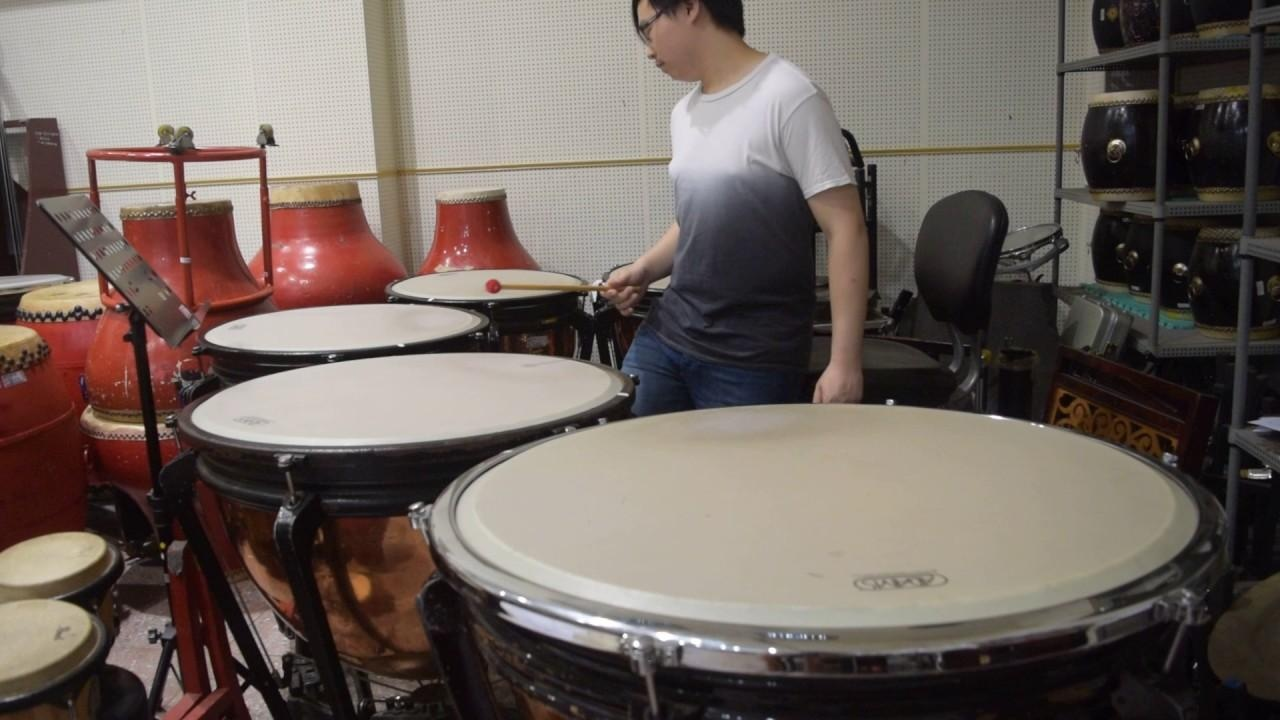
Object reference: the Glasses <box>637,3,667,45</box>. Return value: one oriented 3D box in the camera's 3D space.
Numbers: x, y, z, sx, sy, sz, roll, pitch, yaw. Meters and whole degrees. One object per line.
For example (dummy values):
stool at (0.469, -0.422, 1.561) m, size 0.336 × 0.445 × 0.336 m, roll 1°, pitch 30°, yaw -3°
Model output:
Glasses at (0.048, -1.216, 3.430) m, size 0.088 × 0.116 × 0.067 m, roll -4°, pitch 17°, yaw 17°

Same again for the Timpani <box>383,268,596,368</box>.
Timpani at (-0.592, -0.259, 4.228) m, size 0.543 × 0.508 × 0.542 m, roll -8°, pitch 17°, yaw -24°

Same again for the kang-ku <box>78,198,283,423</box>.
kang-ku at (-2.057, -0.243, 4.442) m, size 0.975 × 0.955 × 0.980 m, roll -5°, pitch 8°, yaw -26°

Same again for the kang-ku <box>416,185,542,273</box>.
kang-ku at (-0.900, -0.693, 5.195) m, size 0.731 × 0.425 × 0.711 m, roll -9°, pitch 11°, yaw -32°

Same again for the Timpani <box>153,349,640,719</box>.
Timpani at (-0.787, 0.350, 3.043) m, size 1.121 × 0.928 × 1.152 m, roll -4°, pitch 17°, yaw -16°

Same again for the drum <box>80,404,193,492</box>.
drum at (-2.025, 0.343, 3.827) m, size 0.375 × 0.364 × 0.385 m, roll -5°, pitch 11°, yaw -31°
